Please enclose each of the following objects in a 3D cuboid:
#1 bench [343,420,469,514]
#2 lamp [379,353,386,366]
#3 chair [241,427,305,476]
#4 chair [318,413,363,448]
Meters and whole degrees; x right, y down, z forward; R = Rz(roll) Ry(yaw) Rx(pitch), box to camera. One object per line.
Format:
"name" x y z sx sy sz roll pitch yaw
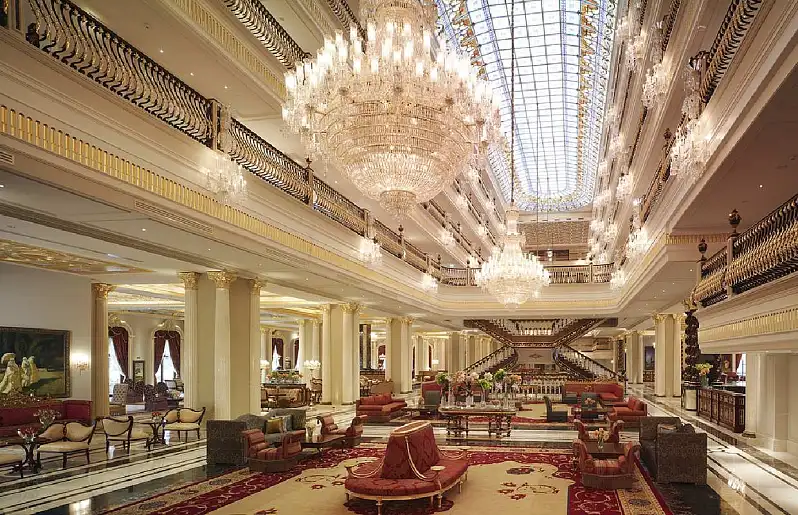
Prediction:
"bench" 0.076 3.794 8.954 1.430 0.915 2.261 -5 -8 19
"lamp" -1.983 11.026 53.855 0.647 1.232 1.389 -4 -15 6
"chair" -2.853 4.407 11.419 1.233 0.786 0.816 -1 -6 15
"chair" -1.641 4.571 13.224 1.103 0.726 0.811 -3 -9 14
